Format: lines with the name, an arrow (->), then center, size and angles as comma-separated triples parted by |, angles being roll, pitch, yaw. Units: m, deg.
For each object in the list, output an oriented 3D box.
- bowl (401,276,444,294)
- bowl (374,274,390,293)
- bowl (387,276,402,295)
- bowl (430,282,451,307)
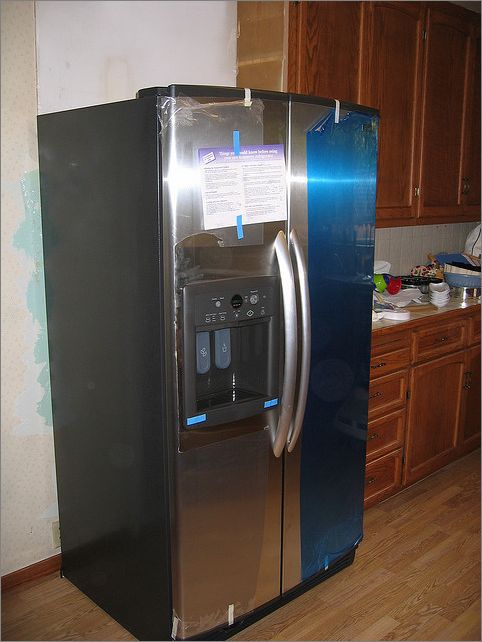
bowl -> 0.998, -0.216, 3.045 | 0.144, 0.041, 0.146 | 0, 12, 0
bowl -> 0.718, -0.191, 2.765 | 0.077, 0.106, 0.105 | 1, 8, 32
bowl -> 0.800, -0.180, 2.860 | 0.065, 0.091, 0.091 | 2, 39, -3
bowl -> 1.044, -0.136, 2.798 | 0.091, 0.103, 0.127 | 0, 4, 32
